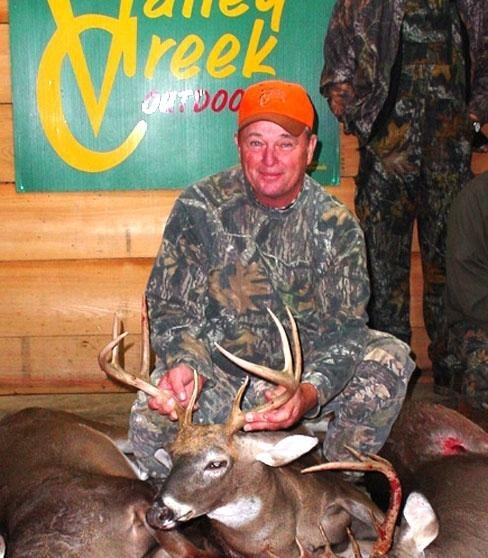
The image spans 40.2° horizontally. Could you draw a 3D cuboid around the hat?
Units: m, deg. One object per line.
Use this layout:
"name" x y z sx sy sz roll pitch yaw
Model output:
"hat" 0.142 -0.749 2.903 0.324 0.220 0.224 3 18 1
